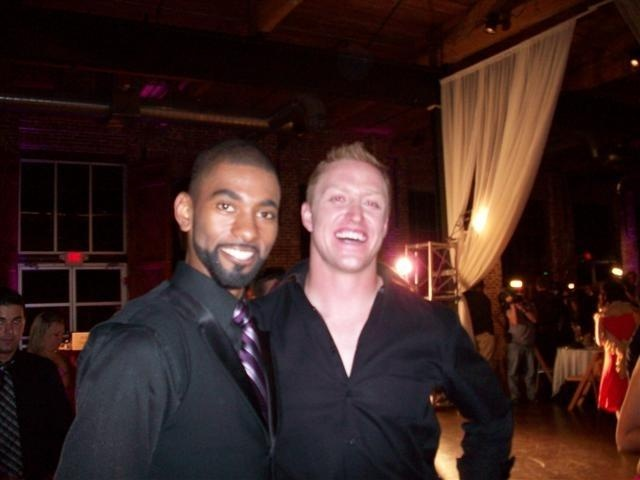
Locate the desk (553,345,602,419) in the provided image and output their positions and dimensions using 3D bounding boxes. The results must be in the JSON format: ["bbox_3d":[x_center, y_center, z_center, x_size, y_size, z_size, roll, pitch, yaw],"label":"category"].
[{"bbox_3d":[4.095,2.178,7.964,0.680,0.798,0.653,-5,-10,-8],"label":"desk"}]
